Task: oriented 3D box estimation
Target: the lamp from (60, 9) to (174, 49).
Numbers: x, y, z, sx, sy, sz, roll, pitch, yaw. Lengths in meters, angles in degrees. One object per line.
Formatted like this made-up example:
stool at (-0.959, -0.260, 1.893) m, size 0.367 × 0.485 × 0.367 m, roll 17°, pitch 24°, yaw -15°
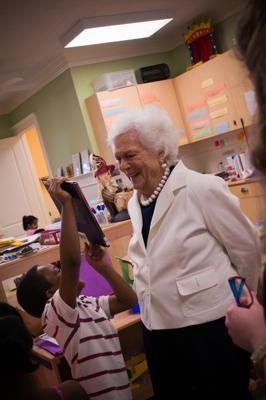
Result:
lamp at (-0.223, -2.328, 3.722) m, size 1.472 × 0.136 × 0.535 m, roll -20°, pitch 6°, yaw -21°

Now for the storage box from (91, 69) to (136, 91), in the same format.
storage box at (-0.254, -1.830, 4.200) m, size 0.661 × 0.285 × 0.310 m, roll -19°, pitch 6°, yaw -16°

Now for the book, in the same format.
book at (-0.175, 0.059, 0.977) m, size 0.092 × 0.238 × 0.321 m, roll -18°, pitch 6°, yaw -13°

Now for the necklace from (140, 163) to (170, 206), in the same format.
necklace at (0.116, -0.065, 1.249) m, size 0.038 × 0.192 × 0.146 m, roll 22°, pitch -6°, yaw 3°
